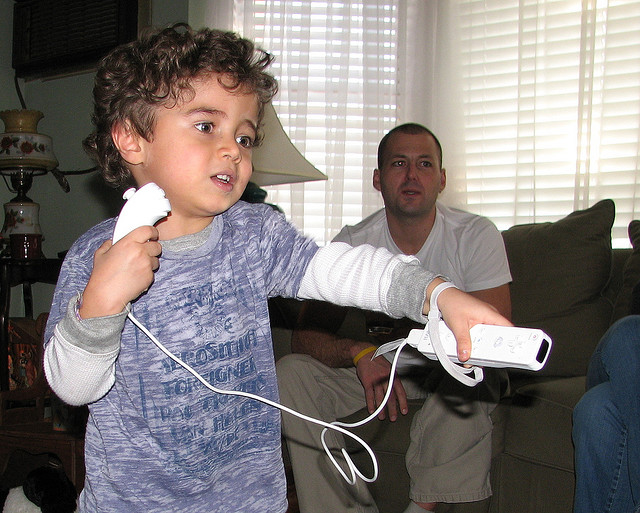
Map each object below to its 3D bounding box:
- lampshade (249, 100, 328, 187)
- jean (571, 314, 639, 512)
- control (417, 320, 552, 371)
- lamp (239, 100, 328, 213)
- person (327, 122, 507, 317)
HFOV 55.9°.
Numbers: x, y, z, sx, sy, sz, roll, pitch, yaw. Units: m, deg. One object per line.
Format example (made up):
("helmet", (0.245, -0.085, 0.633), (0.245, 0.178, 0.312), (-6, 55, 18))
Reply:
("lampshade", (-0.155, -0.398, 2.376), (0.311, 0.334, 0.299), (-5, 0, 10))
("jean", (0.753, 0.412, 1.585), (0.158, 0.492, 0.226), (4, 10, 24))
("control", (0.318, 0.183, 1.185), (0.246, 0.103, 0.060), (5, -26, 29))
("lamp", (-0.161, -0.392, 2.422), (0.356, 0.431, 0.219), (-4, 10, -21))
("person", (0.358, -0.142, 2.366), (0.895, 0.812, 0.580), (-1, -5, 13))
